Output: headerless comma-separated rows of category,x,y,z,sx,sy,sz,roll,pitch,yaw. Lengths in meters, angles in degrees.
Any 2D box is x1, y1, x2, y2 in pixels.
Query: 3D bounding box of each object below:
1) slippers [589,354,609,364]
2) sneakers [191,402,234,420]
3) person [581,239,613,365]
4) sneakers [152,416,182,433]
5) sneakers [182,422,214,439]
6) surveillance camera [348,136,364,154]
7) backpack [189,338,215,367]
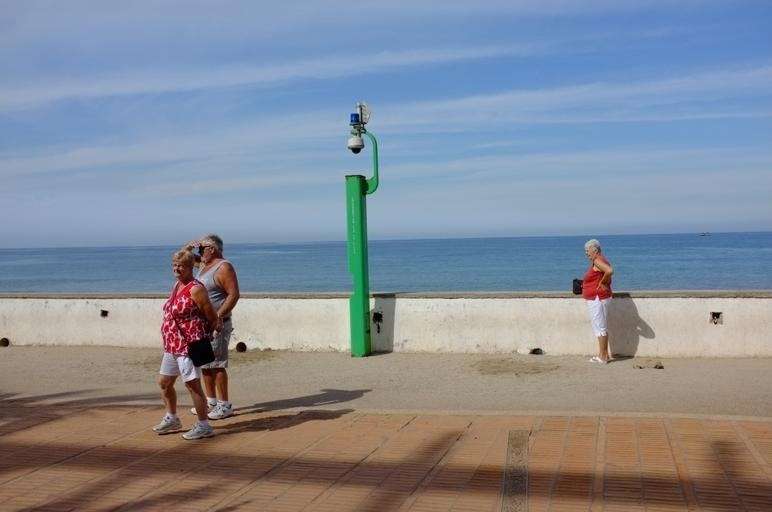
slippers,3.208,1.563,13.318,0.224,0.070,0.130,3,3,34
sneakers,-2.178,1.959,11.141,0.355,0.112,0.263,8,-9,-42
person,3.284,0.621,13.697,0.476,1.796,1.433,1,13,13
sneakers,-2.645,2.046,10.628,0.427,0.183,0.155,-4,10,-10
sneakers,-2.228,2.087,10.479,0.411,0.148,0.167,-9,-39,-4
surveillance camera,-0.490,-1.775,14.066,0.211,0.269,0.417,-3,12,-6
backpack,-2.208,1.143,10.420,0.363,0.388,0.225,-7,-21,-11
